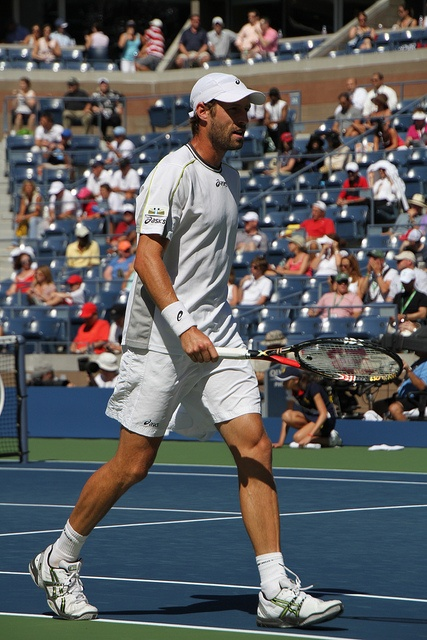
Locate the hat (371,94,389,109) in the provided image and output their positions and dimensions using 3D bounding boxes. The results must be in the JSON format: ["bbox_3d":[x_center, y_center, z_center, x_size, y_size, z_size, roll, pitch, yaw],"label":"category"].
[{"bbox_3d":[3.204,-4.207,17.184,0.300,0.295,0.285,-8,13,8],"label":"hat"}]

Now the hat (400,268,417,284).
[{"bbox_3d":[2.412,-0.547,11.081,0.149,0.106,0.213,5,21,24],"label":"hat"}]

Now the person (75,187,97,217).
[{"bbox_3d":[-2.635,-2.438,18.605,0.381,0.813,0.308,17,-49,-27],"label":"person"}]

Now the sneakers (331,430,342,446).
[{"bbox_3d":[1.436,1.382,10.404,0.104,0.248,0.112,-6,41,6],"label":"sneakers"}]

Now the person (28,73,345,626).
[{"bbox_3d":[-0.086,0.127,3.321,1.078,2.093,0.658,-1,8,6],"label":"person"}]

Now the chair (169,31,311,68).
[{"bbox_3d":[0.718,-7.128,23.591,2.147,0.369,0.382,-8,-8,7],"label":"chair"}]

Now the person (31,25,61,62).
[{"bbox_3d":[-4.636,-7.664,24.754,0.776,1.123,0.727,-3,7,-3],"label":"person"}]

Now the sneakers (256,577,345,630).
[{"bbox_3d":[0.284,1.012,3.195,0.379,0.187,0.136,-4,-5,17],"label":"sneakers"}]

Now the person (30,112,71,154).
[{"bbox_3d":[-3.949,-4.445,21.571,1.053,1.245,0.959,-1,-4,2],"label":"person"}]

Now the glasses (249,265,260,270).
[{"bbox_3d":[0.611,-0.776,13.142,0.148,0.065,0.168,10,-1,4],"label":"glasses"}]

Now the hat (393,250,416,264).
[{"bbox_3d":[2.467,-0.819,11.497,0.222,0.105,0.138,10,1,14],"label":"hat"}]

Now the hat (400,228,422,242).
[{"bbox_3d":[2.719,-1.187,12.436,0.351,0.163,0.206,3,-1,9],"label":"hat"}]

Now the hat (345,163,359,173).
[{"bbox_3d":[2.383,-2.614,15.275,0.183,0.186,0.354,-1,7,11],"label":"hat"}]

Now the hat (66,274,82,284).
[{"bbox_3d":[-2.252,-0.667,14.519,0.229,0.104,0.154,3,-1,-41],"label":"hat"}]

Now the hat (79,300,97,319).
[{"bbox_3d":[-1.818,-0.149,13.197,0.204,0.142,0.273,6,30,19],"label":"hat"}]

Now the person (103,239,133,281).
[{"bbox_3d":[-1.705,-1.015,15.208,0.516,0.708,0.738,25,1,-4],"label":"person"}]

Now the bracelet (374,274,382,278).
[{"bbox_3d":[2.188,-0.591,11.840,0.070,0.061,0.019,-8,-7,39],"label":"bracelet"}]

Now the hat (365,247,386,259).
[{"bbox_3d":[2.194,-0.886,11.849,0.235,0.116,0.148,25,-5,-23],"label":"hat"}]

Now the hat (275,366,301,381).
[{"bbox_3d":[0.842,0.610,9.981,0.311,0.147,0.189,-7,-7,22],"label":"hat"}]

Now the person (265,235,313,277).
[{"bbox_3d":[1.288,-0.942,13.645,0.853,0.722,0.460,7,-11,-5],"label":"person"}]

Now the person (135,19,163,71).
[{"bbox_3d":[-1.781,-7.675,24.997,0.800,1.444,0.915,-3,7,-4],"label":"person"}]

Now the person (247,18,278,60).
[{"bbox_3d":[1.322,-7.387,23.421,0.589,1.150,1.142,0,8,19],"label":"person"}]

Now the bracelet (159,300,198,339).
[{"bbox_3d":[-0.119,-0.003,3.086,0.068,0.121,0.117,-9,10,-43],"label":"bracelet"}]

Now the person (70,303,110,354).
[{"bbox_3d":[-1.843,0.155,13.336,0.552,0.748,0.449,-16,-40,32],"label":"person"}]

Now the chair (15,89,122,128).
[{"bbox_3d":[-3.368,-5.279,22.866,3.318,0.908,1.198,0,-7,-1],"label":"chair"}]

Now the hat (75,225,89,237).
[{"bbox_3d":[-2.419,-1.629,16.215,0.278,0.105,0.362,-20,0,-17],"label":"hat"}]

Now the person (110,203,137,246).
[{"bbox_3d":[-1.653,-1.770,16.816,0.443,0.501,1.279,-1,-6,-5],"label":"person"}]

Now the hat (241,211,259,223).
[{"bbox_3d":[0.642,-1.756,14.958,0.280,0.126,0.201,13,-5,-17],"label":"hat"}]

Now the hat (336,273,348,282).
[{"bbox_3d":[1.691,-0.560,11.844,0.166,0.102,0.250,2,-8,4],"label":"hat"}]

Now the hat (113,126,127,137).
[{"bbox_3d":[-2.115,-4.281,20.290,0.259,0.225,0.311,-3,20,-6],"label":"hat"}]

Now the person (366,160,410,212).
[{"bbox_3d":[2.966,-2.238,14.851,0.702,0.801,0.339,-9,-10,19],"label":"person"}]

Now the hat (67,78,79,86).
[{"bbox_3d":[-3.451,-5.883,21.926,0.190,0.202,0.206,7,-10,0],"label":"hat"}]

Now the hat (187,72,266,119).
[{"bbox_3d":[0.052,-0.845,3.338,0.237,0.110,0.164,-13,-6,34],"label":"hat"}]
